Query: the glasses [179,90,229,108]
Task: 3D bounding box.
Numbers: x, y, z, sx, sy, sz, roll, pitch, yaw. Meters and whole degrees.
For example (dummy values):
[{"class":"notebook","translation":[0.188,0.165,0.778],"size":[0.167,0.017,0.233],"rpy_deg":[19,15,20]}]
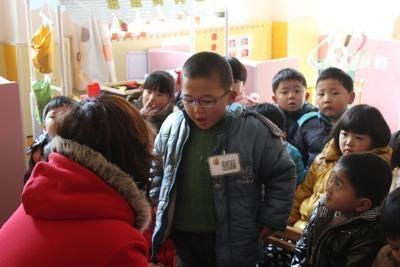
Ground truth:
[{"class":"glasses","translation":[0.032,-0.176,1.606],"size":[0.246,0.080,0.085],"rpy_deg":[1,7,-1]}]
